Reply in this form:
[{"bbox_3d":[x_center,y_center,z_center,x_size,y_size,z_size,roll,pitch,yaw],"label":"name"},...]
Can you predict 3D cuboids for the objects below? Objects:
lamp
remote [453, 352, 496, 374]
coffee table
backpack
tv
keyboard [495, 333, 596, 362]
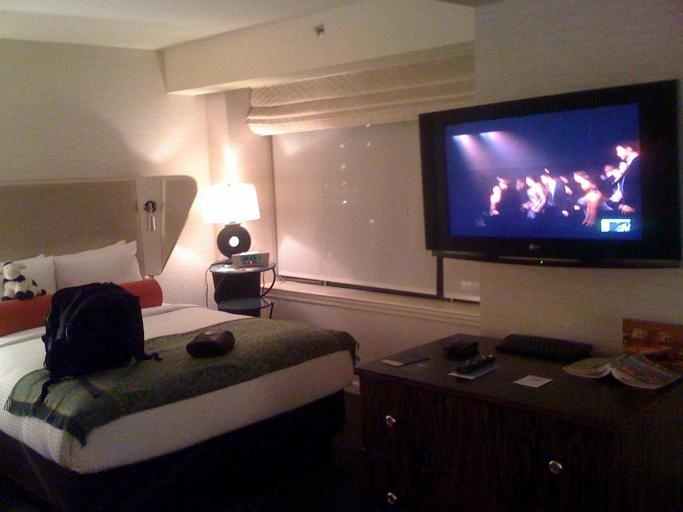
[{"bbox_3d":[-1.065,-0.314,5.013,0.536,0.775,0.539,-5,1,-35],"label":"lamp"},{"bbox_3d":[0.626,0.503,2.435,0.211,0.054,0.076,-24,10,-38],"label":"remote"},{"bbox_3d":[-0.973,0.307,4.851,0.577,0.609,0.621,-1,11,3],"label":"coffee table"},{"bbox_3d":[-1.464,0.380,2.996,0.504,0.457,0.488,-8,18,-43],"label":"backpack"},{"bbox_3d":[1.046,-0.395,2.472,1.039,0.710,0.075,1,7,31],"label":"tv"},{"bbox_3d":[1.001,0.461,2.552,0.295,0.072,0.173,1,5,39],"label":"keyboard"}]
